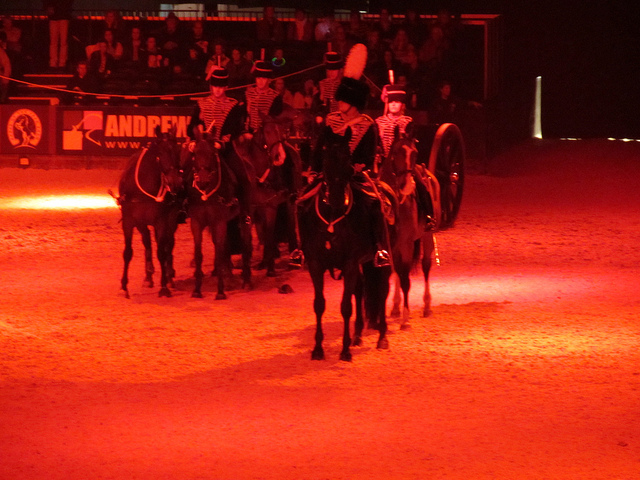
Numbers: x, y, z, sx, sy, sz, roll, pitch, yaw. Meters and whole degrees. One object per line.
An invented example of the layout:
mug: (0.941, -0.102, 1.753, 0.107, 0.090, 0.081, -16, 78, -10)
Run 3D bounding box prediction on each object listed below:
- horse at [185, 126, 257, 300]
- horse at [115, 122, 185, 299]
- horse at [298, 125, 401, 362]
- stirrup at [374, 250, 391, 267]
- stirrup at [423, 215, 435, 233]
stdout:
horse: (-1.756, -0.495, 11.962, 0.935, 2.968, 1.727, 2, 12, 9)
horse: (-2.972, -0.528, 11.937, 1.196, 2.918, 1.518, -2, 12, -10)
horse: (0.376, 0.045, 8.638, 0.894, 2.971, 1.226, 7, 14, 28)
stirrup: (0.771, 0.239, 8.458, 0.199, 0.188, 0.073, 2, -4, -4)
stirrup: (1.603, -0.222, 10.050, 0.209, 0.210, 0.081, -4, 6, 21)
